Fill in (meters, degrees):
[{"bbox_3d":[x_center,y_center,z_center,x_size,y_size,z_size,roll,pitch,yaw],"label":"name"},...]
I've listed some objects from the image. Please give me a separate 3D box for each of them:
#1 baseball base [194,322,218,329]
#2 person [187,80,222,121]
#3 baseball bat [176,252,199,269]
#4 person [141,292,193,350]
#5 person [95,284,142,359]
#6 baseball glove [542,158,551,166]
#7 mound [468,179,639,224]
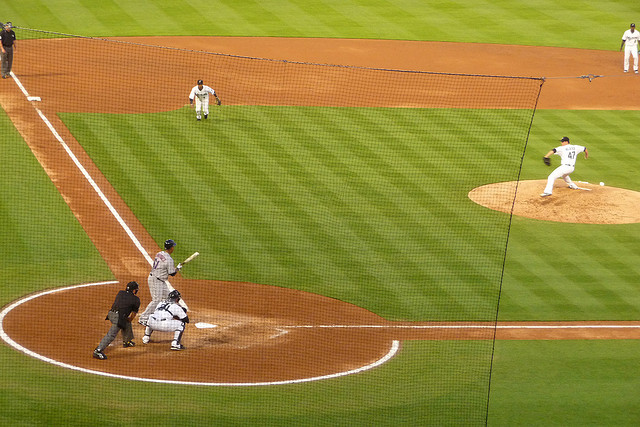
[{"bbox_3d":[-3.115,3.027,27.173,0.579,0.009,0.156,3,31,-10],"label":"baseball base"},{"bbox_3d":[-4.509,-4.473,38.605,0.953,1.609,1.541,-1,26,-2],"label":"person"},{"bbox_3d":[-3.911,1.388,29.555,0.797,0.102,0.176,-32,56,-14],"label":"baseball bat"},{"bbox_3d":[-4.091,2.890,26.558,1.415,1.213,1.102,12,16,16],"label":"person"},{"bbox_3d":[-5.200,2.784,25.911,1.422,1.759,0.475,-23,36,-39],"label":"person"},{"bbox_3d":[7.738,-1.812,34.361,0.189,0.128,0.338,-15,33,-32],"label":"baseball glove"},{"bbox_3d":[8.327,-0.449,34.675,5.374,0.369,3.119,4,23,9],"label":"mound"}]
